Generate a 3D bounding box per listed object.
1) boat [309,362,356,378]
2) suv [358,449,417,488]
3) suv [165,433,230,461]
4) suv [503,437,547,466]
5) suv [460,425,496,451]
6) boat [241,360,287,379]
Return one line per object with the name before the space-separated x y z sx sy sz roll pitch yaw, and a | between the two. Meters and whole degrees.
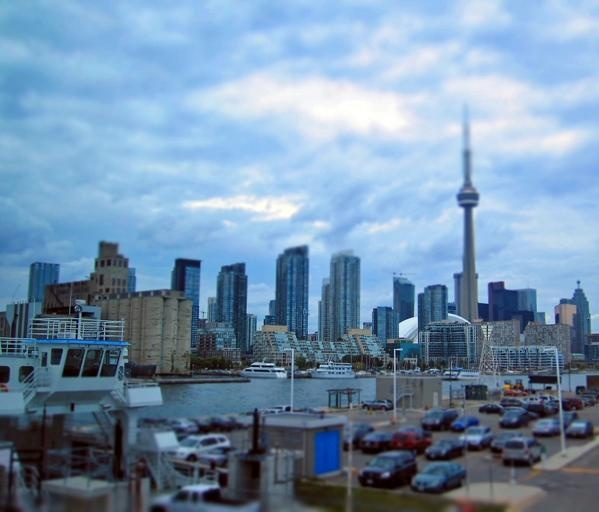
boat | 11.995 41.320 227.078 8.283 5.481 15.411 -8 -12 34
suv | 3.497 7.947 23.711 1.098 0.788 1.888 -9 -16 35
suv | -6.043 11.299 37.353 1.317 0.915 2.691 -11 -17 36
suv | 8.245 7.340 23.862 1.910 0.930 0.802 6 -12 -37
suv | 6.901 7.286 25.172 1.164 0.900 2.492 -7 -15 29
boat | -12.244 40.483 223.849 14.057 5.439 12.514 0 -10 -8
